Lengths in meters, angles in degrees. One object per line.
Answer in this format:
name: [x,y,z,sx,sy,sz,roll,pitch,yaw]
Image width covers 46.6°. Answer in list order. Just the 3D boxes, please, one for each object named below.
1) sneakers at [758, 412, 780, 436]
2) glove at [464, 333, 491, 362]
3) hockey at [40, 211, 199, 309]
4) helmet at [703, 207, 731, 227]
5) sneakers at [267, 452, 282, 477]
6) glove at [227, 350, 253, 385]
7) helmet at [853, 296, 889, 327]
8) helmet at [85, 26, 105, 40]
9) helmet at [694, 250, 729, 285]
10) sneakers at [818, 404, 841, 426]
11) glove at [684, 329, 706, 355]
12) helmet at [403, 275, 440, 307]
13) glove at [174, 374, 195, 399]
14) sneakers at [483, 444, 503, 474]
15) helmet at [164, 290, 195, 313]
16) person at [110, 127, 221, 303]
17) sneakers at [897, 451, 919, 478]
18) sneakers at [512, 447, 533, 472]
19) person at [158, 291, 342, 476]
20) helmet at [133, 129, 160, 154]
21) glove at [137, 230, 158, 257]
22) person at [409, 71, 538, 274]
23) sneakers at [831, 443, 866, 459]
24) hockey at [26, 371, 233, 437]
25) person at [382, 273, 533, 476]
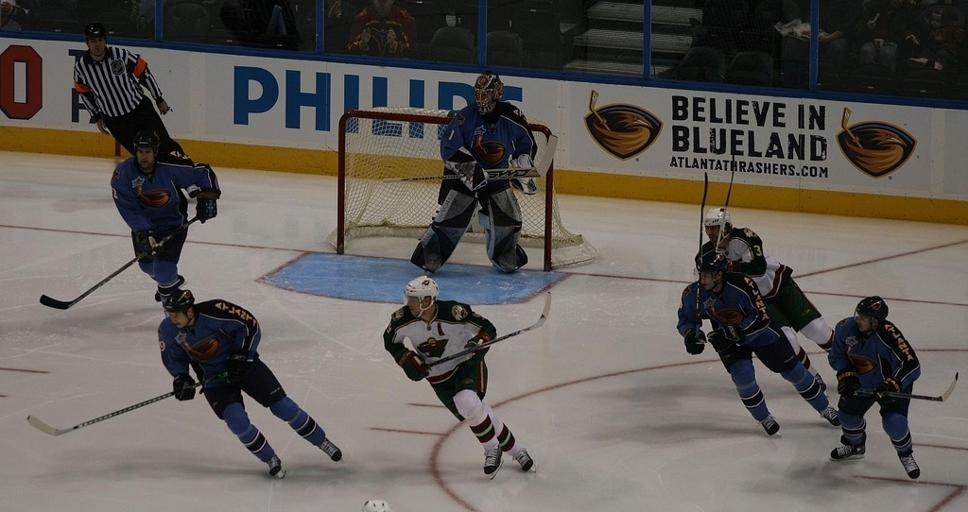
sneakers: [2.719,1.566,10.533,0.260,0.182,0.154,-12,22,-41]
glove: [-0.036,0.819,10.069,0.257,0.083,0.198,-25,18,9]
hockey: [-3.885,0.088,12.068,1.965,0.268,0.248,-25,42,5]
helmet: [2.316,-0.386,11.233,0.203,0.224,0.274,-11,-15,43]
sneakers: [-1.841,1.849,10.006,0.132,0.192,0.197,0,17,-11]
glove: [-2.147,0.991,9.956,0.195,0.231,0.098,11,-7,12]
helmet: [3.500,0.497,10.192,0.330,0.259,0.239,7,-4,-1]
helmet: [-4.529,-2.604,13.134,0.169,0.152,0.201,-8,-10,-23]
helmet: [2.136,0.114,10.585,0.370,0.321,0.280,-4,-3,-28]
sneakers: [3.266,1.508,10.620,0.268,0.098,0.112,41,10,39]
glove: [1.991,0.810,10.605,0.203,0.225,0.114,0,0,6]
helmet: [-0.543,0.317,10.115,0.330,0.259,0.230,3,8,-3]
glove: [-2.683,1.176,10.043,0.197,0.204,0.211,6,3,-36]
sneakers: [0.088,1.806,10.030,0.113,0.137,0.317,-14,24,32]
helmet: [-2.645,0.396,9.930,0.249,0.197,0.174,12,5,0]
person: [-3.225,-0.407,11.438,1.007,1.657,0.440,-2,19,-15]
sneakers: [3.831,1.879,10.099,0.141,0.264,0.201,-22,-13,21]
sneakers: [0.346,1.831,10.064,0.233,0.081,0.098,50,23,13]
person: [-2.166,1.112,10.008,1.433,1.578,0.511,8,19,18]
helmet: [-3.383,-1.159,11.333,0.230,0.210,0.252,1,4,-4]
glove: [-3.383,-0.123,11.379,0.214,0.256,0.117,1,8,27]
person: [-0.048,-0.929,12.767,1.280,2.277,0.541,2,18,-3]
sneakers: [3.318,1.781,10.258,0.328,0.115,0.125,0,20,0]
hockey: [-3.247,1.396,10.386,1.735,0.268,0.155,-16,-10,-5]
person: [-0.230,1.058,10.063,1.289,1.650,0.623,13,20,29]
